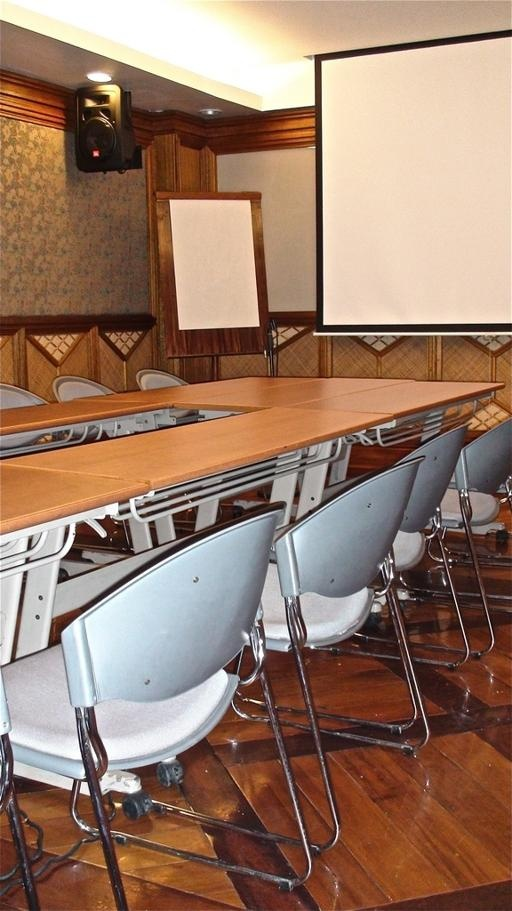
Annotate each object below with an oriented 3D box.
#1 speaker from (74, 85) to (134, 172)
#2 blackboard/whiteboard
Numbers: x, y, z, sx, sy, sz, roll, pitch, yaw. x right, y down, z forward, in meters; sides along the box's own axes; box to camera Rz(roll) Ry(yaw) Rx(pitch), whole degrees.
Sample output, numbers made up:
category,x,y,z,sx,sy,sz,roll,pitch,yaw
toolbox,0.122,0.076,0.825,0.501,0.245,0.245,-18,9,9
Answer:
category,x,y,z,sx,sy,sz,roll,pitch,yaw
speaker,-1.230,-2.625,4.845,0.471,0.667,0.341,-2,11,-8
blackboard/whiteboard,-0.417,-1.758,5.501,0.992,1.459,0.096,-8,8,-34
